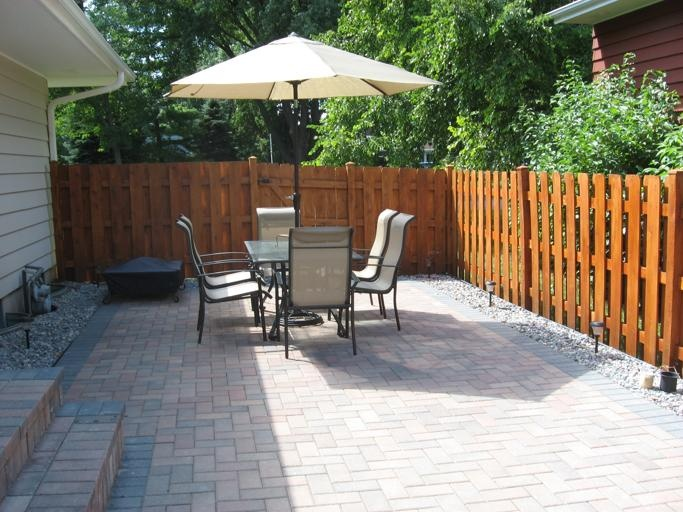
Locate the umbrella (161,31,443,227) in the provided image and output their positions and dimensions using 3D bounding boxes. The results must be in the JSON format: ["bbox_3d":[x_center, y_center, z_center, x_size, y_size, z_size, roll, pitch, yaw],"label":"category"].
[{"bbox_3d":[-0.665,-1.098,7.202,2.758,2.058,2.968,5,12,21],"label":"umbrella"}]
